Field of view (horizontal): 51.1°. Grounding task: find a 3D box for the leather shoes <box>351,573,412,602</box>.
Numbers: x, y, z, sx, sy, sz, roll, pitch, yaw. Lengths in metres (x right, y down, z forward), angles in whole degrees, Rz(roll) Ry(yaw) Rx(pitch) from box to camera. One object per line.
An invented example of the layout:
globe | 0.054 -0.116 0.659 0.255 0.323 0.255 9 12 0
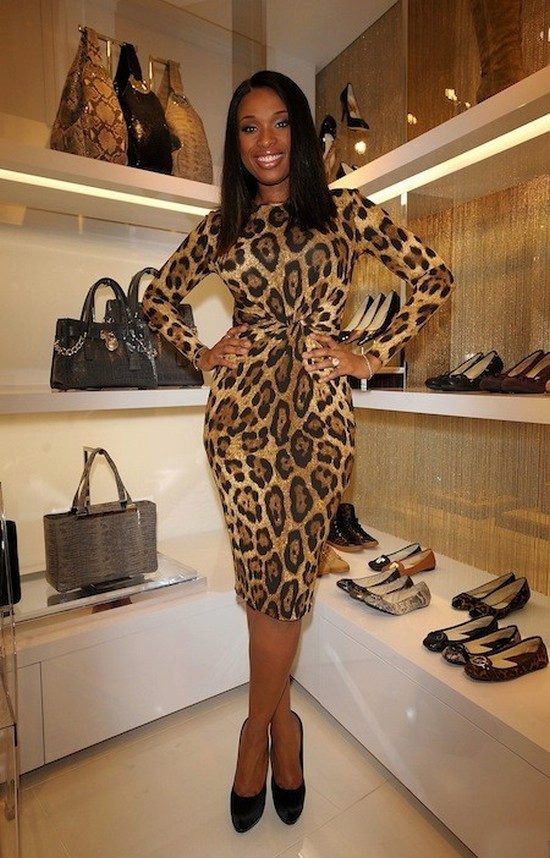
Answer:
leather shoes | 0.334 0.483 1.805 0.216 0.065 0.078 7 -5 -37

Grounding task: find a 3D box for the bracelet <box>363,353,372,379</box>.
bracelet | 0.228 -0.151 1.419 0.011 0.045 0.046 -10 15 7

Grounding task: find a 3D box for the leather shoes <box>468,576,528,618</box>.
leather shoes | 0.651 0.472 1.688 0.240 0.104 0.083 -2 -1 -36

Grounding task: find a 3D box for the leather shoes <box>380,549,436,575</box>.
leather shoes | 0.454 0.444 2.019 0.210 0.084 0.077 -6 -3 -28

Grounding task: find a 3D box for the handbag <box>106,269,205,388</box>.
handbag | -0.428 -0.319 2.042 0.327 0.475 0.135 -2 -16 -25

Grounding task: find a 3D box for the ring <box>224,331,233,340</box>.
ring | -0.116 -0.238 1.461 0.008 0.026 0.016 -21 -21 -35

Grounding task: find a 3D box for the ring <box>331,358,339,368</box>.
ring | 0.138 -0.153 1.342 0.016 0.018 0.004 1 6 -33

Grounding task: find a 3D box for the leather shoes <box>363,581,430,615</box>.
leather shoes | 0.365 0.514 1.738 0.145 0.056 0.094 2 -4 -31

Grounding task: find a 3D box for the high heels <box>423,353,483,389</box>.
high heels | 0.572 -0.186 1.842 0.216 0.091 0.080 -27 4 -21

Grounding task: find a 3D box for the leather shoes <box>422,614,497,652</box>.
leather shoes | 0.480 0.527 1.499 0.222 0.080 0.080 0 -2 -35

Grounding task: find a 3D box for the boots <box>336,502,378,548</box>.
boots | 0.318 0.391 2.322 0.082 0.119 0.249 -3 4 -21

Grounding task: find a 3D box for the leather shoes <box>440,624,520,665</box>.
leather shoes | 0.514 0.519 1.442 0.079 0.078 0.229 -8 -12 43

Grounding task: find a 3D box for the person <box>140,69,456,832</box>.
person | -0.001 0.074 1.437 0.683 1.842 0.354 2 7 15

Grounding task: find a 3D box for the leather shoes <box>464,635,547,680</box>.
leather shoes | 0.545 0.533 1.374 0.233 0.092 0.087 3 -6 -37

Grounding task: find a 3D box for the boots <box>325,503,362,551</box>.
boots | 0.273 0.406 2.371 0.092 0.182 0.271 2 -4 -20

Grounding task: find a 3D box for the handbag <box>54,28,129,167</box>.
handbag | -0.563 -1.006 1.767 0.213 0.461 0.280 -4 5 -25

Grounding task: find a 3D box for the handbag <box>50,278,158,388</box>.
handbag | -0.565 -0.302 1.897 0.186 0.445 0.382 0 2 44

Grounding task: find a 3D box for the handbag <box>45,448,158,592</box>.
handbag | -0.574 0.248 1.899 0.330 0.469 0.282 -9 21 -30
